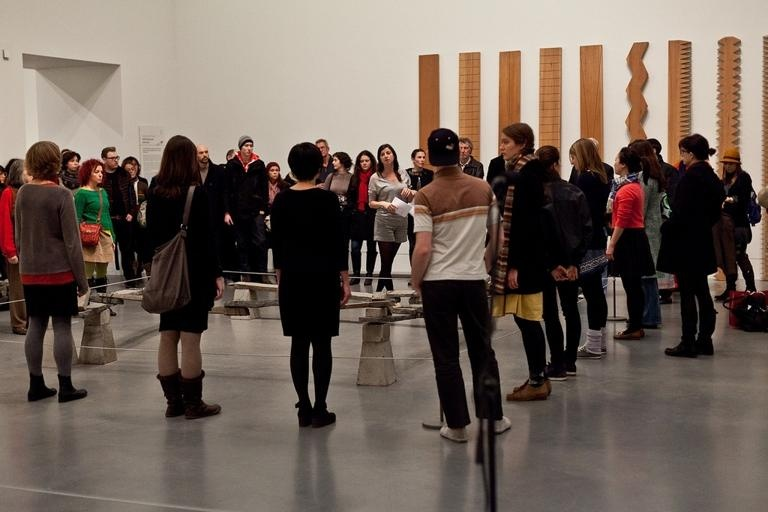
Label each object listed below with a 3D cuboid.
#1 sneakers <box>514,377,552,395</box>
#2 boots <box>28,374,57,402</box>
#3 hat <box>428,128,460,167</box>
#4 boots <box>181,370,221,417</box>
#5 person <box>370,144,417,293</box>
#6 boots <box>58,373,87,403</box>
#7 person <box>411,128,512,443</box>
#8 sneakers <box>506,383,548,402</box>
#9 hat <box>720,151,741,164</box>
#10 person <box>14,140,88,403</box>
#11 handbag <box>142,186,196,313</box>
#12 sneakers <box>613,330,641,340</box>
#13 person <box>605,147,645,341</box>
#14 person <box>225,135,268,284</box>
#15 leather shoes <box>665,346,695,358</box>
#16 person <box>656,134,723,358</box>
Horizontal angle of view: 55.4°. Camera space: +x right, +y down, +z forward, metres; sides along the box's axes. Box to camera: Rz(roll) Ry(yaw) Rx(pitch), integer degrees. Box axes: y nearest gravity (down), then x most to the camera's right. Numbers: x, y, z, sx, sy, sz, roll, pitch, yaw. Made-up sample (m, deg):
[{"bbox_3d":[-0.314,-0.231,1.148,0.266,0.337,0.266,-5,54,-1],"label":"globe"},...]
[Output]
[{"bbox_3d":[1.122,1.025,5.668,0.232,0.094,0.151,-1,3,1],"label":"sneakers"},{"bbox_3d":[-2.757,1.056,5.861,0.111,0.217,0.313,2,3,24],"label":"boots"},{"bbox_3d":[0.397,-0.745,4.826,0.222,0.125,0.341,-5,36,-2],"label":"hat"},{"bbox_3d":[-1.362,1.044,5.557,0.197,0.368,0.373,2,5,24],"label":"boots"},{"bbox_3d":[0.054,-0.491,9.173,0.496,1.888,1.125,-2,2,2],"label":"person"},{"bbox_3d":[-2.495,1.048,5.883,0.126,0.216,0.302,2,4,29],"label":"boots"},{"bbox_3d":[0.474,0.207,4.761,0.601,2.103,1.316,-2,2,9],"label":"person"},{"bbox_3d":[1.119,1.055,5.688,0.239,0.090,0.157,1,1,6],"label":"sneakers"},{"bbox_3d":[3.967,-1.124,8.382,0.203,0.143,0.253,3,3,36],"label":"hat"},{"bbox_3d":[-2.587,0.140,5.717,0.510,1.822,0.252,-2,1,-9],"label":"person"},{"bbox_3d":[-1.554,-0.041,5.275,0.418,0.726,0.123,-2,1,2],"label":"handbag"},{"bbox_3d":[2.448,0.790,7.378,0.239,0.098,0.104,4,2,15],"label":"sneakers"},{"bbox_3d":[2.333,-0.094,7.003,0.376,1.879,0.817,-2,2,20],"label":"person"},{"bbox_3d":[-2.026,-0.663,10.913,0.618,1.445,0.518,-2,2,-12],"label":"person"},{"bbox_3d":[2.731,0.878,6.767,0.219,0.096,0.113,3,2,18],"label":"leather shoes"},{"bbox_3d":[2.846,-0.098,6.780,0.584,2.033,0.280,-2,1,15],"label":"person"}]
